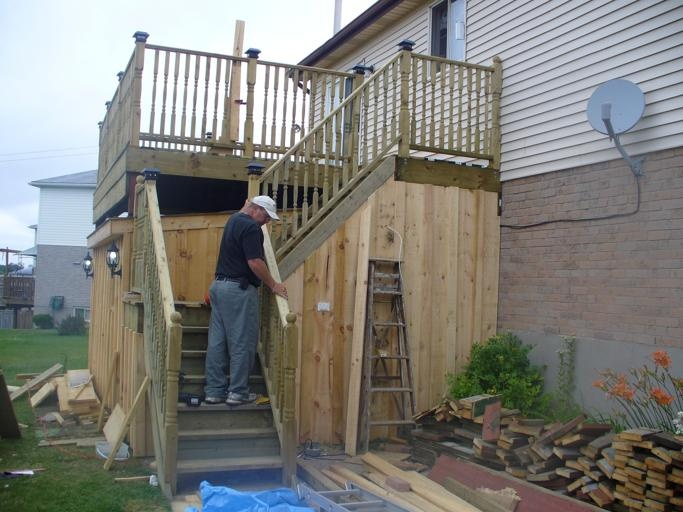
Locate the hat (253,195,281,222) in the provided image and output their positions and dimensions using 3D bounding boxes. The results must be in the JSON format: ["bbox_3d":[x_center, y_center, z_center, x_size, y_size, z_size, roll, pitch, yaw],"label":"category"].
[{"bbox_3d":[-0.957,-0.657,7.620,0.361,0.209,0.246,36,-2,-16],"label":"hat"}]

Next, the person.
[{"bbox_3d":[-1.262,0.542,7.404,0.935,2.441,0.409,-1,0,-8],"label":"person"}]

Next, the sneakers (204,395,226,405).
[{"bbox_3d":[-1.568,1.766,7.318,0.205,0.103,0.097,-1,1,1],"label":"sneakers"}]

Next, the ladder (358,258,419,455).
[{"bbox_3d":[0.630,1.372,8.689,0.924,2.768,0.575,-1,0,-37],"label":"ladder"}]

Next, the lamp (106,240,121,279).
[{"bbox_3d":[-3.680,0.023,9.628,0.191,0.480,0.391,-1,0,-23],"label":"lamp"}]

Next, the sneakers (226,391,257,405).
[{"bbox_3d":[-1.248,1.755,7.443,0.395,0.193,0.141,-1,2,-45],"label":"sneakers"}]
